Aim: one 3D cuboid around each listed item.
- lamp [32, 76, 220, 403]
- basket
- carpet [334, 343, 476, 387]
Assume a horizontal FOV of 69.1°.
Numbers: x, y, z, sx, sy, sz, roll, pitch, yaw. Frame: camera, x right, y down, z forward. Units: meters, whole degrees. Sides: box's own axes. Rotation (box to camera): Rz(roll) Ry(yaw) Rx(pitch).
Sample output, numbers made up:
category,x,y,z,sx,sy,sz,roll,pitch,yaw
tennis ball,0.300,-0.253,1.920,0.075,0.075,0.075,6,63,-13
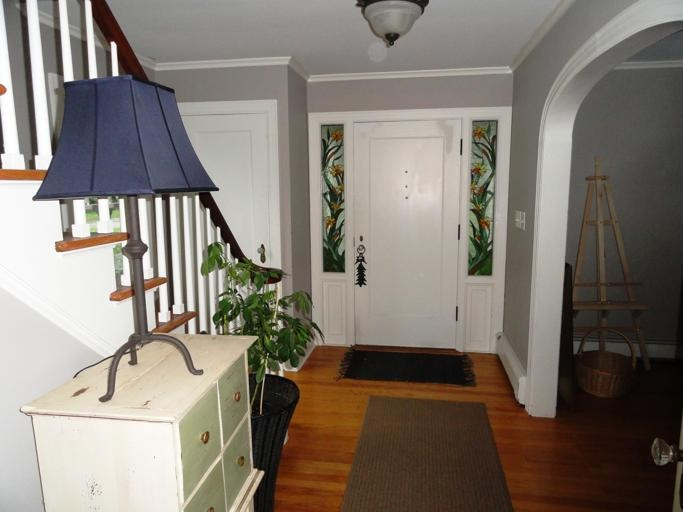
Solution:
category,x,y,z,sx,sy,sz,roll,pitch,yaw
lamp,-0.739,-0.061,1.811,0.529,1.047,0.500,1,0,-31
basket,2.014,0.787,3.830,0.415,0.488,0.366,-3,9,-7
carpet,0.566,0.954,4.306,1.152,0.038,0.659,2,15,10
